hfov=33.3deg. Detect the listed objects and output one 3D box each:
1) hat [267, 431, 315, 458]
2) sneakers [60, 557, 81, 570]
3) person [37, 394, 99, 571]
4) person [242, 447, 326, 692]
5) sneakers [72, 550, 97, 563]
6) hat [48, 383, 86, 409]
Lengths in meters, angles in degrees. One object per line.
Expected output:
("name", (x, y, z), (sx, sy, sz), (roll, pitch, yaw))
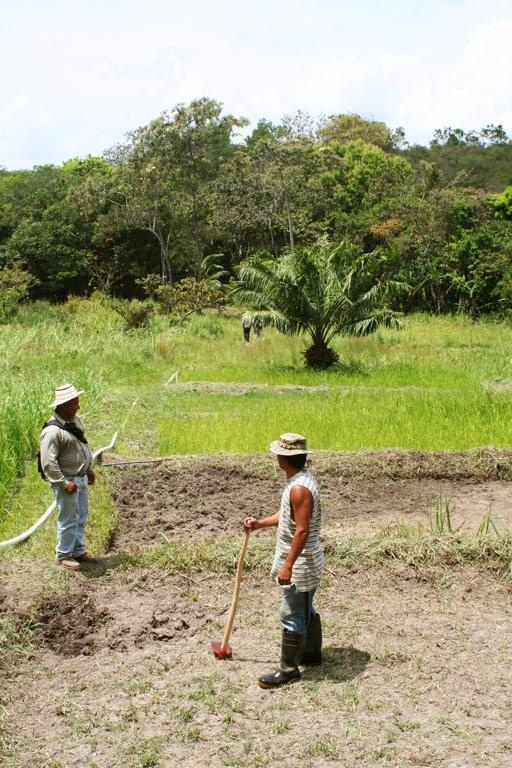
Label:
("hat", (0.284, 0.483, 6.838), (0.371, 0.155, 0.417), (1, 1, 0))
("sneakers", (-1.485, 1.414, 6.752), (0.199, 0.090, 0.069), (-4, -5, 41))
("person", (-1.526, 0.739, 6.779), (0.379, 1.443, 0.624), (-5, 11, -3))
("person", (0.167, 1.023, 4.955), (0.413, 1.439, 0.526), (-3, 11, 3))
("sneakers", (-1.405, 1.394, 6.945), (0.199, 0.091, 0.073), (3, 6, -9))
("hat", (-1.488, 0.077, 6.727), (0.260, 0.130, 0.256), (-24, 7, -34))
